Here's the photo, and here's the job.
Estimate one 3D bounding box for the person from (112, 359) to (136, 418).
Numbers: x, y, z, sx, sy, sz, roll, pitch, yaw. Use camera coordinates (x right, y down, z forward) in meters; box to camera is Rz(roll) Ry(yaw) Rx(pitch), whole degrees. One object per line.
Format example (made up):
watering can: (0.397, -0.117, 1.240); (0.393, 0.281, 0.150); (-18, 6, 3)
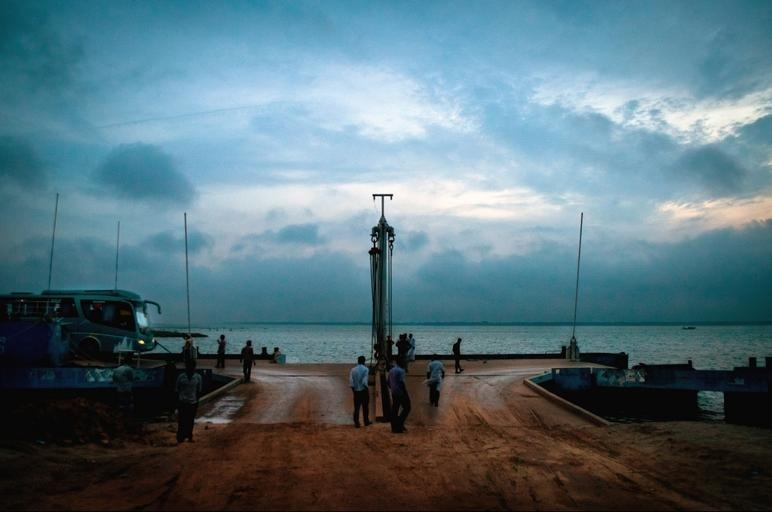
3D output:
person: (-11.499, 5.933, 26.403); (0.742, 2.092, 0.882); (-3, 8, -25)
